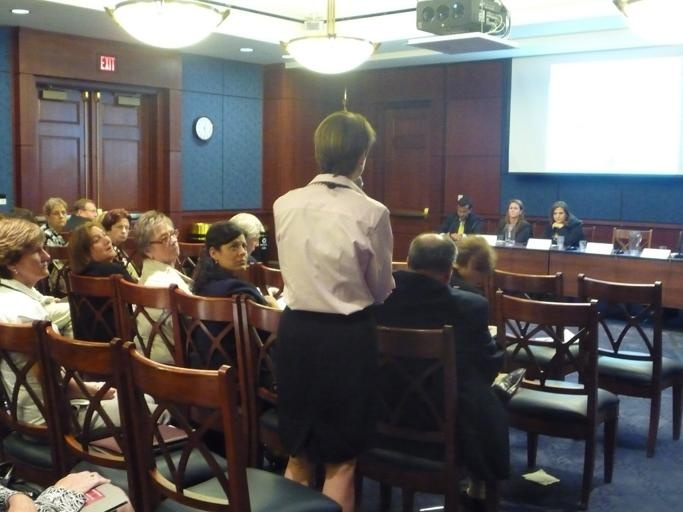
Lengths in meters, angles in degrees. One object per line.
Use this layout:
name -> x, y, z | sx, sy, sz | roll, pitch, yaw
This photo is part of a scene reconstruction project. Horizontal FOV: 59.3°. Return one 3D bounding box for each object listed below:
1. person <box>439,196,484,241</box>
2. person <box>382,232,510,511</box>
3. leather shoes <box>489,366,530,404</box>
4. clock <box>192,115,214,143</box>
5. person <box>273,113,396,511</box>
person -> 1.530, -0.274, 7.715 | 0.454, 0.895, 0.484 | 2, -8, 15
person -> 0.421, 0.530, 2.547 | 0.538, 1.210, 0.429 | 1, 9, -1
leather shoes -> 0.765, 0.570, 2.747 | 0.086, 0.083, 0.292 | 2, 13, 31
clock -> -2.014, -1.857, 8.786 | 0.080, 0.357, 0.344 | 7, 11, 33
person -> -0.029, 0.109, 2.333 | 0.456, 1.314, 0.357 | 0, 9, -6
